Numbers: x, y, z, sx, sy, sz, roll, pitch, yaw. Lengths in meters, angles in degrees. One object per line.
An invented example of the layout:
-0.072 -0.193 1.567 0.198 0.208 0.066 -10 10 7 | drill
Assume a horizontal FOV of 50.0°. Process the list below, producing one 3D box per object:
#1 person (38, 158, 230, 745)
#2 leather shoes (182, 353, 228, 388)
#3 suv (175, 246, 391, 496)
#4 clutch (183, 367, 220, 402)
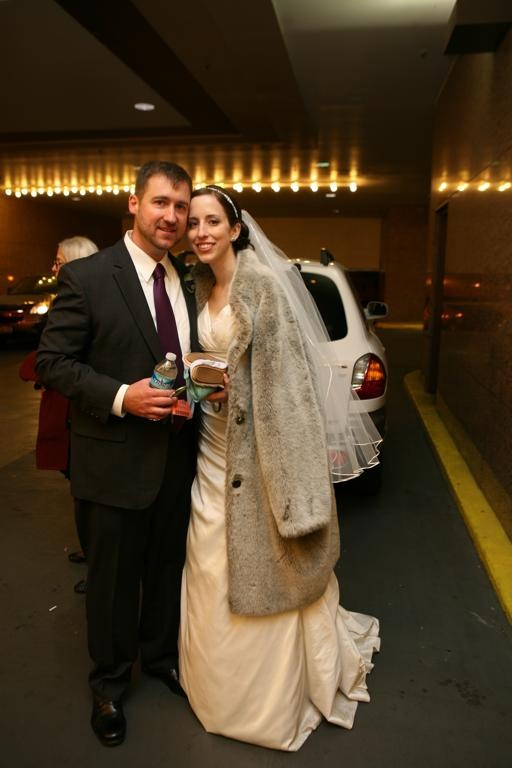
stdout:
-0.443 0.215 1.799 0.472 1.831 0.498 0 6 6 | person
-0.146 -0.044 1.644 0.120 0.092 0.051 10 -7 -37 | leather shoes
0.422 -0.217 3.680 0.883 0.978 1.887 1 24 0 | suv
-0.153 -0.005 1.613 0.106 0.052 0.088 -10 -11 0 | clutch
